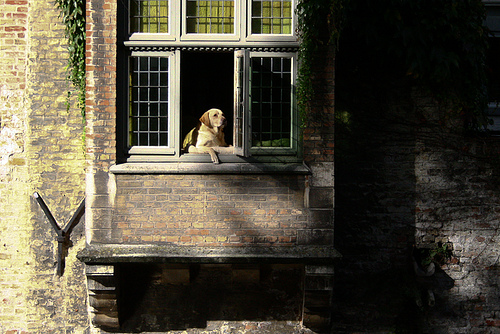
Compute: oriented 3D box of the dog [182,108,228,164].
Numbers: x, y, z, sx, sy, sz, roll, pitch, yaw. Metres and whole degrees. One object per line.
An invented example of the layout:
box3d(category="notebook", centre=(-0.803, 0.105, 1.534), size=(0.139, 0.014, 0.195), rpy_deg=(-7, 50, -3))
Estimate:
box3d(category="dog", centre=(-0.757, -0.539, 17.315), size=(0.760, 0.867, 0.645), rpy_deg=(-1, 5, -4))
